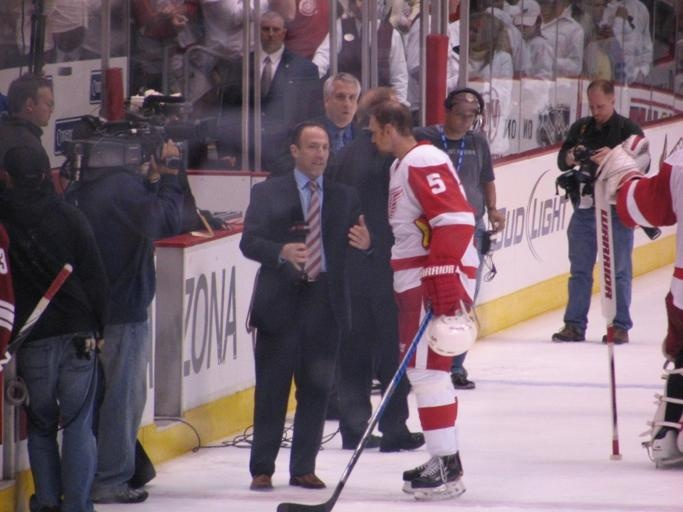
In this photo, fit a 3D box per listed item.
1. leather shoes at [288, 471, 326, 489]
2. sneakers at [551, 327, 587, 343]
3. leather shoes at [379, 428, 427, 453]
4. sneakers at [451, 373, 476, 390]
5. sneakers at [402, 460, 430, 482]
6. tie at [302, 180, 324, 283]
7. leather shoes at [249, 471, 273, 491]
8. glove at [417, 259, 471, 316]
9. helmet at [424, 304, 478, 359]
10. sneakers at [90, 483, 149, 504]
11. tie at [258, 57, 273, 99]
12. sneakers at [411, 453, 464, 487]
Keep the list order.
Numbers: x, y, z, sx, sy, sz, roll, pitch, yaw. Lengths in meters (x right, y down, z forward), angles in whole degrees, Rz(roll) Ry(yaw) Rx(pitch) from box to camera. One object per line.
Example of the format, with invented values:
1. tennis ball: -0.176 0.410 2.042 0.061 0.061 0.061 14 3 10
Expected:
1. leather shoes: -0.203 1.280 6.783 0.176 0.072 0.089 0 0 20
2. sneakers: 1.956 0.667 9.911 0.301 0.121 0.112 2 -3 -11
3. leather shoes: 0.381 1.162 7.479 0.332 0.156 0.121 -7 8 -12
4. sneakers: 0.896 0.922 8.627 0.217 0.095 0.080 2 5 27
5. sneakers: 0.421 1.249 6.830 0.069 0.081 0.212 -41 14 -32
6. tie: -0.158 -0.152 6.794 0.110 0.551 0.225 2 12 -2
7. leather shoes: -0.467 1.294 6.754 0.130 0.092 0.041 2 12 -3
8. glove: 0.571 0.179 6.614 0.209 0.272 0.289 -16 5 -5
9. helmet: 0.632 0.425 6.603 0.297 0.263 0.227 1 4 11
10. sneakers: -1.269 1.334 6.585 0.312 0.132 0.112 -2 3 -15
11. tie: -0.494 -1.143 7.550 0.041 0.262 0.097 13 16 41
12. sneakers: 0.569 1.236 6.772 0.390 0.171 0.133 -1 -10 6
